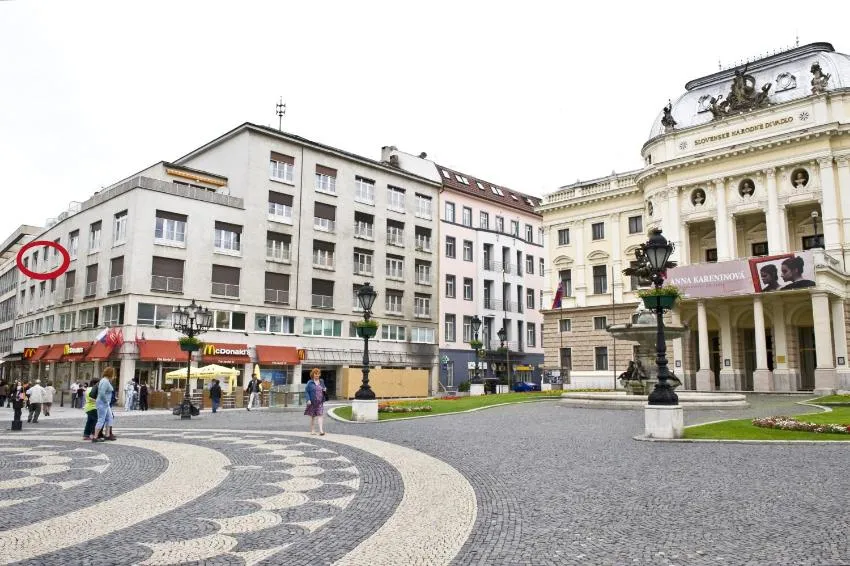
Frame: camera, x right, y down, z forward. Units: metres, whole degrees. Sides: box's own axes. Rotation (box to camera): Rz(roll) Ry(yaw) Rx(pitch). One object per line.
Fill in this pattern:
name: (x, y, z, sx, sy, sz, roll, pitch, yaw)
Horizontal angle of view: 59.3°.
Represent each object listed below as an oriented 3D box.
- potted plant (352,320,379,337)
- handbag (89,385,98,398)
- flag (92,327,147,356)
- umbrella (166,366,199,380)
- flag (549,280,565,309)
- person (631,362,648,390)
potted plant: (-2.359, 1.823, 29.962, 0.829, 0.680, 0.964, 2, -7, -6)
handbag: (-10.993, 3.603, 24.659, 0.260, 0.456, 0.344, -4, -11, 18)
flag: (-19.628, 3.707, 47.446, 3.450, 1.804, 1.604, -7, -13, 33)
umbrella: (-14.609, 5.406, 44.758, 2.110, 0.710, 2.044, -2, -12, 1)
flag: (10.897, 0.989, 61.066, 0.954, 2.372, 0.811, 11, -15, -44)
person: (10.502, 4.582, 36.465, 0.791, 1.408, 0.911, 19, -23, -32)
